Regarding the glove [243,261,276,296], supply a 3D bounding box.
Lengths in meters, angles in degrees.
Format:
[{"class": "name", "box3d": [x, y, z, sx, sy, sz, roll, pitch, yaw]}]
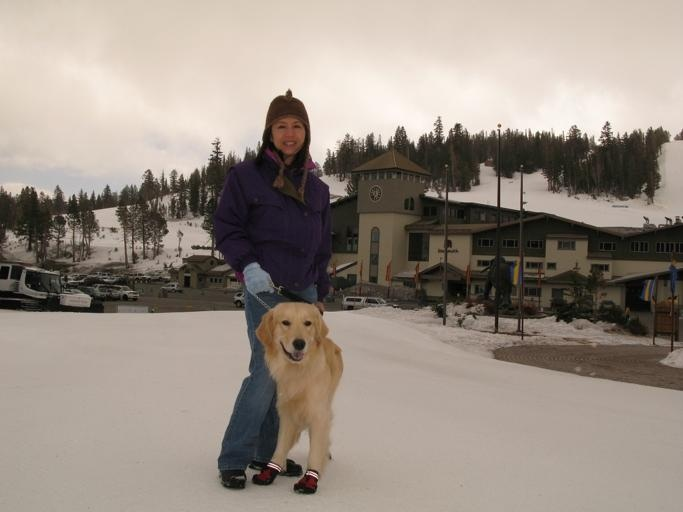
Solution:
[{"class": "glove", "box3d": [-0.739, 0.221, 5.474, 0.300, 0.255, 0.177, 5, 1, -11]}]

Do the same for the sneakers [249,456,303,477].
[{"class": "sneakers", "box3d": [-0.602, 1.964, 5.630, 0.430, 0.145, 0.188, -1, -1, 16]}]

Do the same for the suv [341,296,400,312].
[{"class": "suv", "box3d": [1.698, 3.606, 44.625, 1.545, 0.916, 4.407, 4, 2, -42]}]
